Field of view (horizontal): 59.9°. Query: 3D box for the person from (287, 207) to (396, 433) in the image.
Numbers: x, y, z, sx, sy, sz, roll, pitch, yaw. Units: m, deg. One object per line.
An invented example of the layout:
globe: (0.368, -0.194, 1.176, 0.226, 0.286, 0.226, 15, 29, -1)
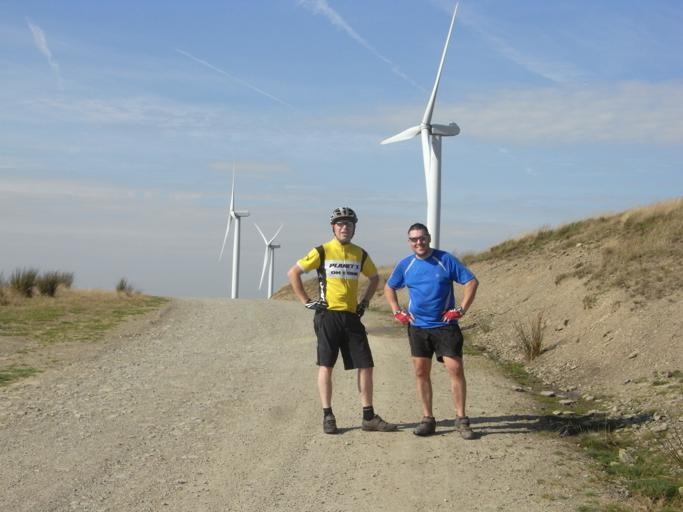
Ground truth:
person: (-0.005, 0.934, 8.696, 1.425, 3.272, 0.797, 2, 6, -3)

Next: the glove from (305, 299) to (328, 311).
glove: (-0.369, 0.701, 8.663, 0.387, 0.175, 0.386, 2, -2, 9)

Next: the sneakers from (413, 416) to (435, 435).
sneakers: (1.241, 2.458, 8.622, 0.394, 0.253, 0.176, 0, 6, -23)

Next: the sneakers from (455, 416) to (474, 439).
sneakers: (1.767, 2.462, 8.594, 0.198, 0.271, 0.343, -2, 7, -39)

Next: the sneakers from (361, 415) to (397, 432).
sneakers: (0.530, 2.452, 8.738, 0.595, 0.250, 0.201, 0, -5, 5)

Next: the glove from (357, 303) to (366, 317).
glove: (0.285, 0.787, 8.727, 0.131, 0.182, 0.085, 18, -2, 18)

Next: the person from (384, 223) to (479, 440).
person: (1.349, 1.060, 8.720, 1.344, 3.043, 0.745, 4, 6, 12)
